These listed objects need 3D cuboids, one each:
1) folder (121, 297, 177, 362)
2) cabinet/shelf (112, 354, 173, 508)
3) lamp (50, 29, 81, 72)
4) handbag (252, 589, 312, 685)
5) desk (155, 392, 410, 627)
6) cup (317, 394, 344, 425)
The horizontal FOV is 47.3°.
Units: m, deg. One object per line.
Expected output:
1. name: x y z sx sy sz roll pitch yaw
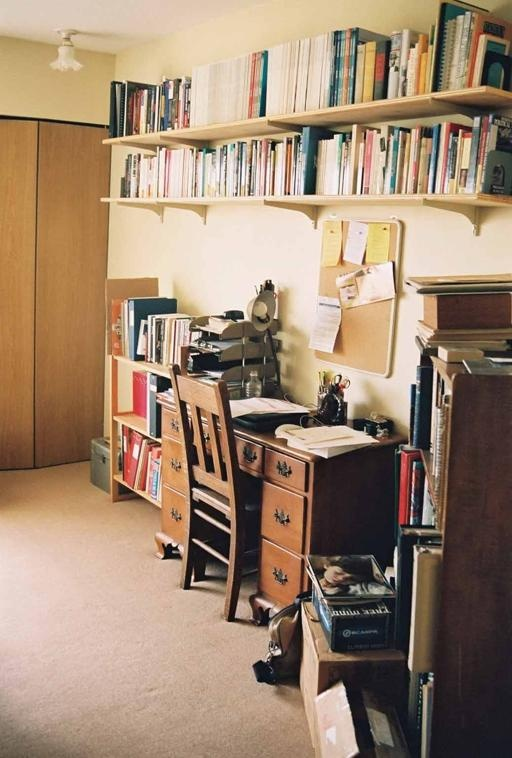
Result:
1. folder: -0.584 -0.270 3.221 0.309 0.332 0.170 -2 8 -38
2. cabinet/shelf: -0.620 0.304 3.206 0.252 0.829 0.774 0 4 -35
3. lamp: -1.103 -1.865 3.357 0.145 0.256 0.302 0 7 -20
4. handbag: 0.083 0.821 1.901 0.094 0.293 0.215 -5 -31 14
5. desk: 0.013 0.488 2.448 0.809 0.737 0.501 15 18 38
6. cup: 0.298 0.122 2.276 0.065 0.125 0.122 2 6 -3
